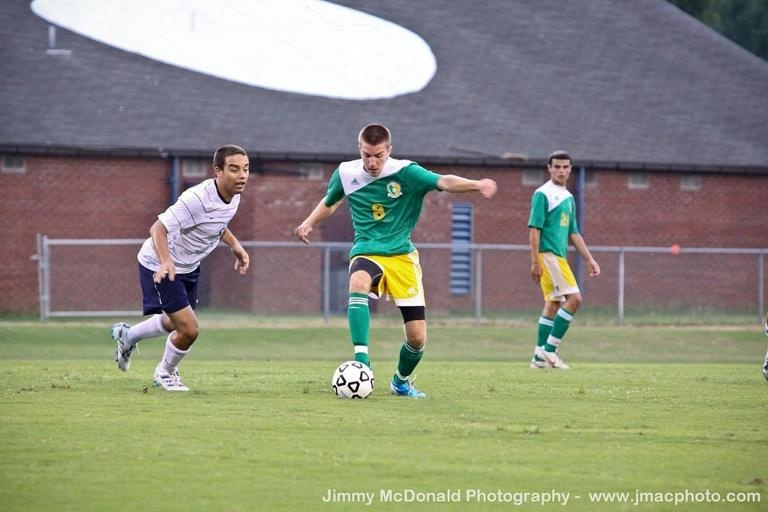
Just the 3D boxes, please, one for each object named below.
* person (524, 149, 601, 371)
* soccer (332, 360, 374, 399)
[{"bbox_3d":[3.056,0.077,23.548,0.892,3.792,1.055,0,12,6],"label":"person"},{"bbox_3d":[-0.518,2.050,21.286,0.747,0.585,0.603,5,-19,-4],"label":"soccer"}]
